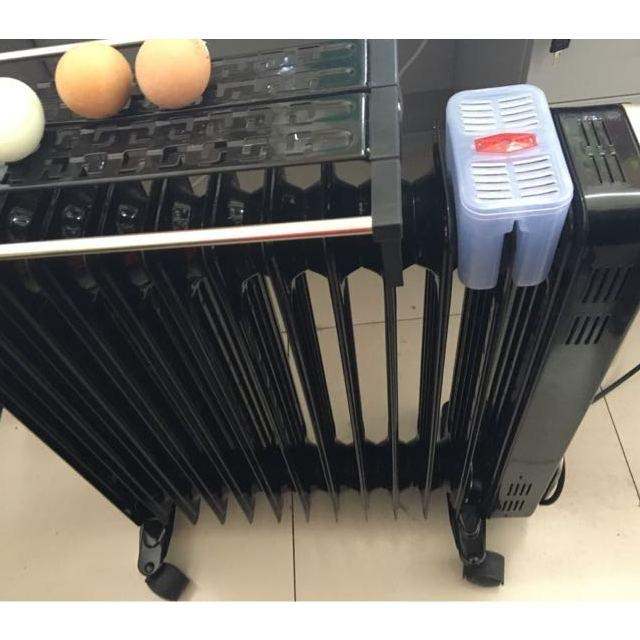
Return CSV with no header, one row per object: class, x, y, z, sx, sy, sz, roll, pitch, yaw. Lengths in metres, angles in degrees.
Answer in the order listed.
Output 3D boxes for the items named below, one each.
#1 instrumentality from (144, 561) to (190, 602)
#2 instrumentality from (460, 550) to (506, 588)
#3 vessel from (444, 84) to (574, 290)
instrumentality,-0.368,0.635,1.526,0.088,0.076,0.085,24,49,36
instrumentality,0.371,0.576,1.452,0.080,0.102,0.023,12,15,16
vessel,0.269,-0.181,0.926,0.153,0.248,0.209,-2,38,10
